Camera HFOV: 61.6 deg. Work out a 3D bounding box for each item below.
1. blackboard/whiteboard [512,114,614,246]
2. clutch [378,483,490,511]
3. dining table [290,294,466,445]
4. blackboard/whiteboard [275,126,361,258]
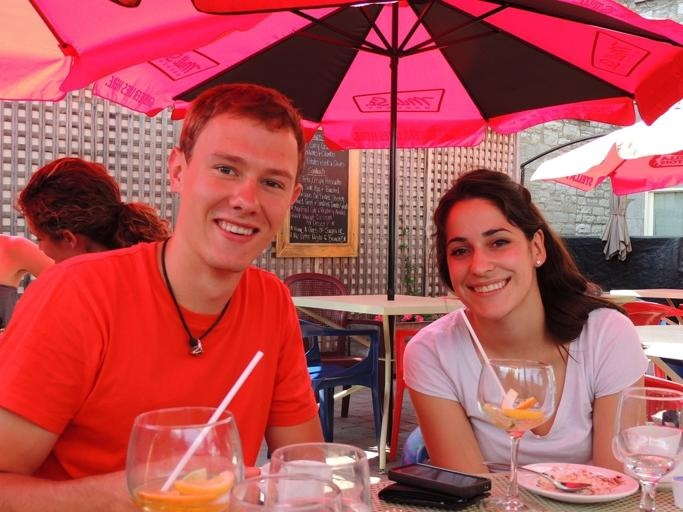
[{"bbox_3d":[4.104,-1.342,11.537,1.937,2.831,1.570,-3,2,-42],"label":"blackboard/whiteboard"},{"bbox_3d":[0.224,0.550,1.401,0.200,0.045,0.164,-2,5,-40],"label":"clutch"},{"bbox_3d":[0.255,0.535,4.017,0.917,1.195,0.802,1,0,-32],"label":"dining table"},{"bbox_3d":[-0.352,-0.678,7.075,1.302,1.308,0.082,2,6,-41],"label":"blackboard/whiteboard"}]
